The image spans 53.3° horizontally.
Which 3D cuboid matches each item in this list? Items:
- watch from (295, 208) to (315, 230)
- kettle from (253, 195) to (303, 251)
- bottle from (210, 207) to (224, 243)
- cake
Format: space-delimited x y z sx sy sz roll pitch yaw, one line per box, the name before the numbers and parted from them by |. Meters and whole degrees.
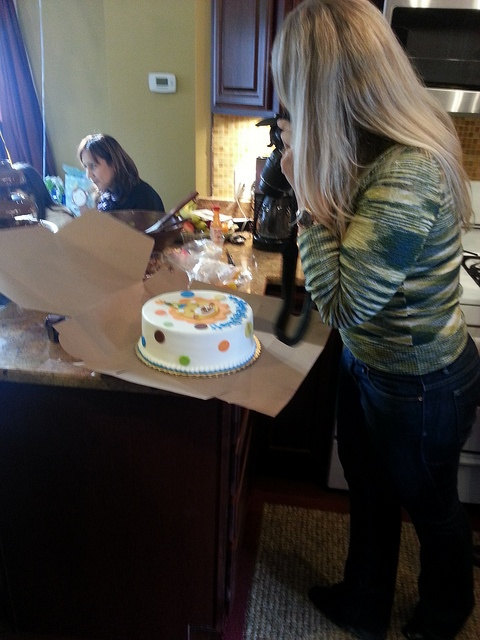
watch | 0.126 -0.201 0.957 0.014 0.049 0.037 -2 3 -37
kettle | 0.118 -0.444 1.907 0.111 0.247 0.227 0 34 -10
bottle | -0.098 -0.373 1.888 0.050 0.127 0.195 -3 27 -2
cake | -0.082 0.014 0.935 0.211 0.100 0.251 7 21 14
